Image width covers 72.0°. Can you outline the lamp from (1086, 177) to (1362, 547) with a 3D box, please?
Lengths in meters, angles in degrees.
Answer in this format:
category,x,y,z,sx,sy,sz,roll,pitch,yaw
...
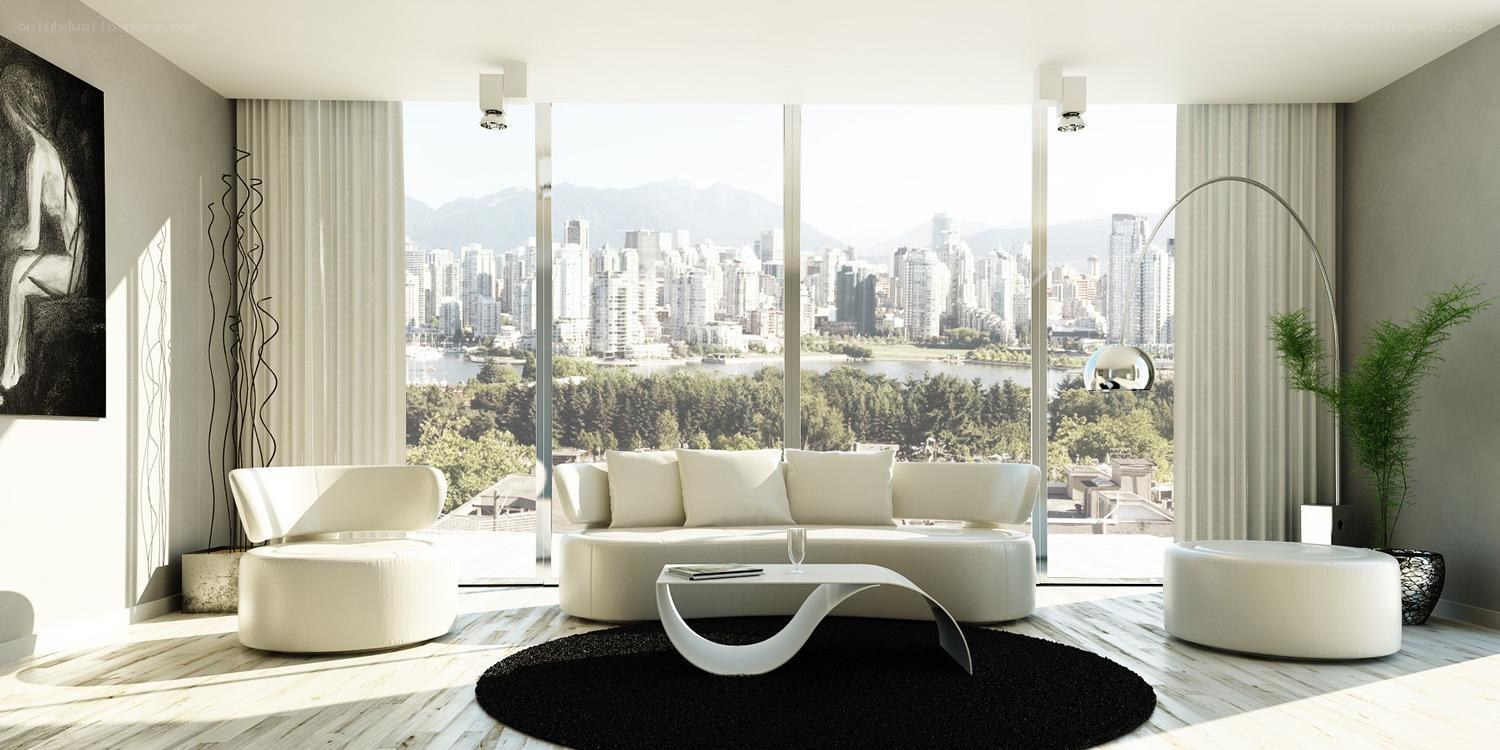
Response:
category,x,y,z,sx,sy,sz,roll,pitch,yaw
lamp,4.493,0.053,9.677,0.710,3.536,2.775,-2,-4,-29

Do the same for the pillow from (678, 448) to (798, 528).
category,x,y,z,sx,sy,sz,roll,pitch,yaw
pillow,-0.108,1.009,9.364,1.098,0.688,0.403,-5,10,19

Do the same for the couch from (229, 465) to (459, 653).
category,x,y,z,sx,sy,sz,roll,pitch,yaw
couch,-3.414,1.473,8.700,1.792,1.260,1.670,2,0,-15

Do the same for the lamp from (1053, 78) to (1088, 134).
category,x,y,z,sx,sy,sz,roll,pitch,yaw
lamp,2.895,-2.415,9.294,0.266,0.484,0.276,4,15,16

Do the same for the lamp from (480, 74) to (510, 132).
category,x,y,z,sx,sy,sz,roll,pitch,yaw
lamp,-2.293,-2.416,9.191,0.220,0.483,0.196,-3,15,-11

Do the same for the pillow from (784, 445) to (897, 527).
category,x,y,z,sx,sy,sz,roll,pitch,yaw
pillow,0.794,1.040,9.454,1.141,0.688,0.367,2,7,-19

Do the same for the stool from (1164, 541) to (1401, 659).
category,x,y,z,sx,sy,sz,roll,pitch,yaw
stool,4.372,1.606,8.453,1.344,0.572,1.017,-1,-3,23

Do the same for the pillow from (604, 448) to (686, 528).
category,x,y,z,sx,sy,sz,roll,pitch,yaw
pillow,-0.944,1.047,9.208,0.746,0.573,0.254,-1,-13,-15
